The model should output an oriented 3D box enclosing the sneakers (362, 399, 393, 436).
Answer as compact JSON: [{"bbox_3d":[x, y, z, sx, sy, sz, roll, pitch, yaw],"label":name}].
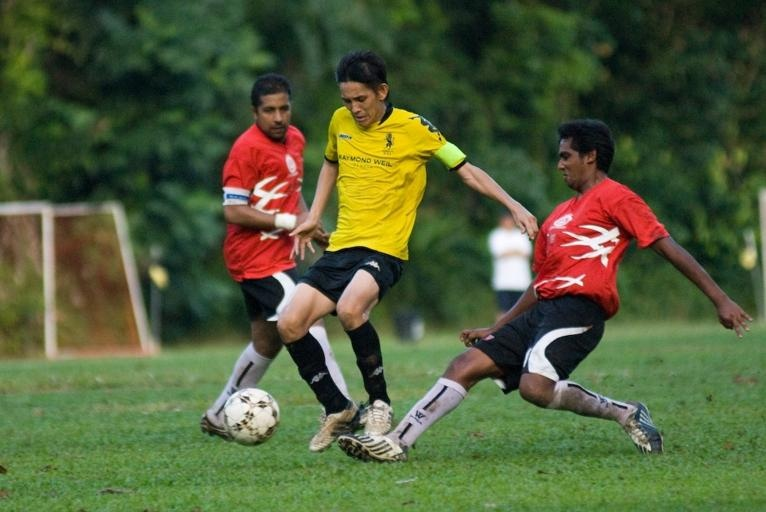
[{"bbox_3d":[-0.051,1.520,10.663,0.256,0.274,0.281,-1,10,-2],"label":"sneakers"}]

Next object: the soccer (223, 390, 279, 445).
[{"bbox_3d":[-1.275,1.549,10.810,0.515,0.502,0.288,-1,10,-6],"label":"soccer"}]

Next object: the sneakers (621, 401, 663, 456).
[{"bbox_3d":[2.396,1.592,10.591,0.274,0.598,0.202,10,-49,-45],"label":"sneakers"}]
